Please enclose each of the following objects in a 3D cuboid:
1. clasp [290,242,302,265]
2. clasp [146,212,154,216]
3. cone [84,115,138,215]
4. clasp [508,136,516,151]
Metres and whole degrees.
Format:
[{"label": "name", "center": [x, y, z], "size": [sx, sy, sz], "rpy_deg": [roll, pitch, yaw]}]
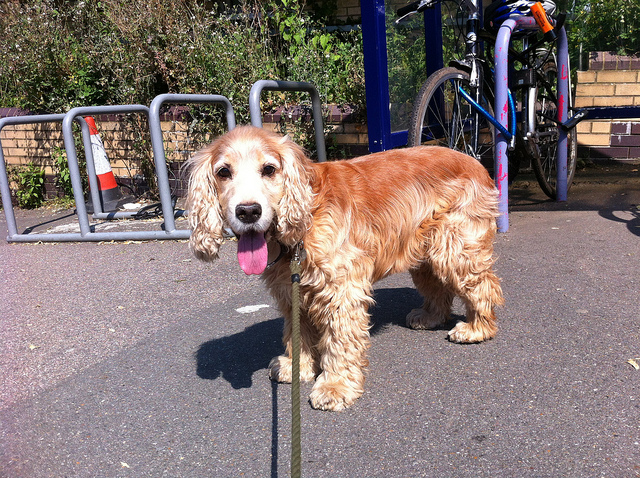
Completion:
[{"label": "clasp", "center": [-0.149, 0.100, 4.433], "size": [0.071, 0.141, 0.042], "rpy_deg": [17, 11, 42]}, {"label": "clasp", "center": [-2.161, -0.315, 8.687], "size": [0.078, 0.033, 0.086], "rpy_deg": [-8, 16, -14]}, {"label": "cone", "center": [-2.825, -0.919, 9.255], "size": [0.504, 1.475, 0.375], "rpy_deg": [16, 21, 38]}, {"label": "clasp", "center": [1.814, -0.888, 6.376], "size": [0.042, 0.189, 0.053], "rpy_deg": [11, -11, -2]}]
